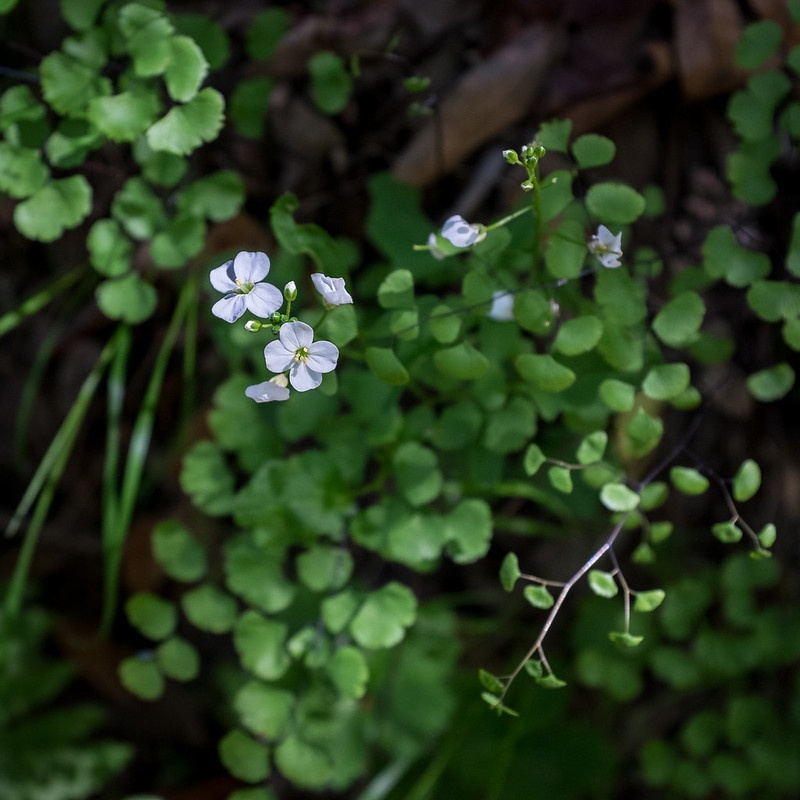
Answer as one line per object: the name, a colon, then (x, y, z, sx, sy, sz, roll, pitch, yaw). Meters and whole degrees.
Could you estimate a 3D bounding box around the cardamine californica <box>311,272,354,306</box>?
cardamine californica: (-0.087, -0.136, 1.015, 0.042, 0.028, 0.040, 26, 8, -20)

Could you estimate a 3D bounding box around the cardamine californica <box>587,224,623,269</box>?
cardamine californica: (0.265, -0.196, 1.080, 0.027, 0.056, 0.053, 5, 47, 41)

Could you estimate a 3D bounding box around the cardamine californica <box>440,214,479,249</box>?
cardamine californica: (0.074, -0.210, 1.010, 0.043, 0.040, 0.016, -2, -13, -19)

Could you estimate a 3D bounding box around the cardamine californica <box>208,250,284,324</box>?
cardamine californica: (-0.198, -0.140, 1.031, 0.084, 0.085, 0.098, -19, 30, -7)

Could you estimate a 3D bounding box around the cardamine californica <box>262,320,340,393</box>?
cardamine californica: (-0.125, -0.056, 0.997, 0.081, 0.084, 0.029, -10, 29, -6)
